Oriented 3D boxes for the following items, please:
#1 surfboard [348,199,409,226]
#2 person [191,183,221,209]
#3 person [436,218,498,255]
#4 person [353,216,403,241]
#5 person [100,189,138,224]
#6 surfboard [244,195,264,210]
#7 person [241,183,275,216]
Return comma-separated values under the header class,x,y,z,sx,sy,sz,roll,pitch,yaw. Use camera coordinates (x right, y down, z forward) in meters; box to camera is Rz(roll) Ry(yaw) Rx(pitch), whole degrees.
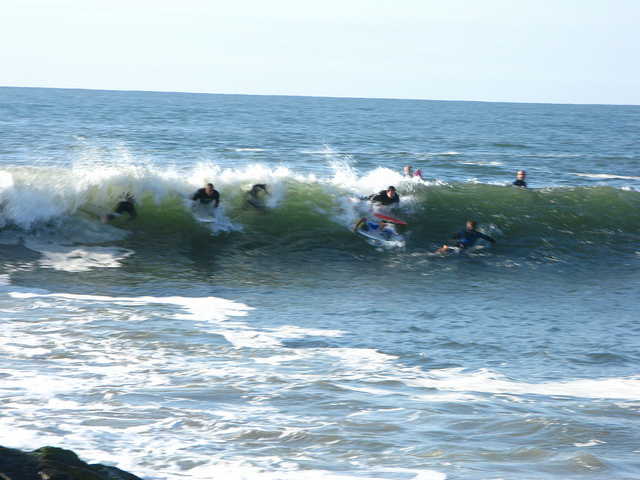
class,x,y,z,sx,sy,sz,roll,pitch,yaw
surfboard,1.498,-0.587,19.803,1.623,0.054,0.168,14,55,29
person,-2.796,-1.078,18.982,0.631,0.623,0.444,2,12,1
person,3.594,-0.013,19.049,1.590,0.305,1.238,13,23,16
person,1.445,-0.274,19.319,1.241,0.525,0.656,1,10,1
person,-4.679,-0.808,18.442,0.791,0.746,1.093,2,9,0
surfboard,-1.692,-0.916,19.568,0.619,0.131,0.379,1,36,-31
person,-1.548,-1.004,19.529,0.825,0.733,0.826,2,10,-3
